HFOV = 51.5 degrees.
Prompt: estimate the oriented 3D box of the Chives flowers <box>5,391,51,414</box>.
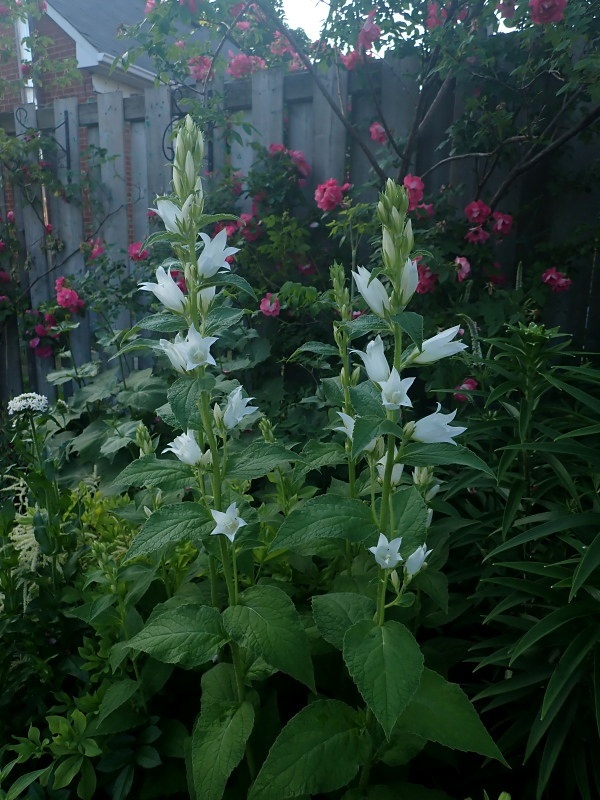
[{"bbox_3d":[-1.011,0.012,2.317,0.129,0.079,0.123,0,0,-33],"label":"Chives flowers"}]
